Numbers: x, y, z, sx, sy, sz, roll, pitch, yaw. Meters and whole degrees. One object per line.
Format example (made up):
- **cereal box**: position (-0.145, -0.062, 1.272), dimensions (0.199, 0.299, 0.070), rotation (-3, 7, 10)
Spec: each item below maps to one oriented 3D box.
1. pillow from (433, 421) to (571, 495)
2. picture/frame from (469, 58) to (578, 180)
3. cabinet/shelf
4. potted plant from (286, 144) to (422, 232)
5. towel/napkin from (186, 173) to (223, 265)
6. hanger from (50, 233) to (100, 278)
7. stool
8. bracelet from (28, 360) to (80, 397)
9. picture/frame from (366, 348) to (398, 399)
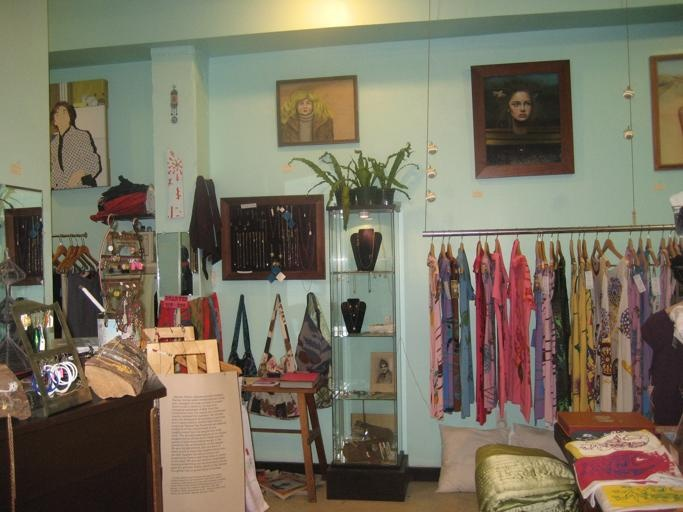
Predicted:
- **pillow**: position (1.226, 1.513, 4.992), dimensions (0.734, 0.543, 0.225), rotation (-5, -21, 9)
- **picture/frame**: position (1.569, -1.167, 5.773), dimensions (0.824, 1.114, 0.075), rotation (-1, -18, 10)
- **cabinet/shelf**: position (0.200, 0.779, 5.567), dimensions (0.653, 2.378, 0.447), rotation (-1, 4, 8)
- **potted plant**: position (0.202, -0.674, 5.945), dimensions (0.764, 0.486, 0.845), rotation (1, -3, 3)
- **towel/napkin**: position (-1.219, -0.320, 5.943), dimensions (0.223, 0.772, 0.268), rotation (-1, 4, 13)
- **hanger**: position (-2.449, 0.004, 6.150), dimensions (0.355, 0.276, 0.039), rotation (2, -2, -40)
- **stool**: position (-0.577, 1.540, 5.780), dimensions (0.800, 0.900, 0.660), rotation (-2, -2, 8)
- **bracelet**: position (-1.420, 0.608, 3.343), dimensions (0.182, 0.197, 0.049), rotation (-13, -3, -40)
- **picture/frame**: position (0.345, 0.992, 5.582), dimensions (0.339, 0.592, 0.042), rotation (-1, -5, 10)
